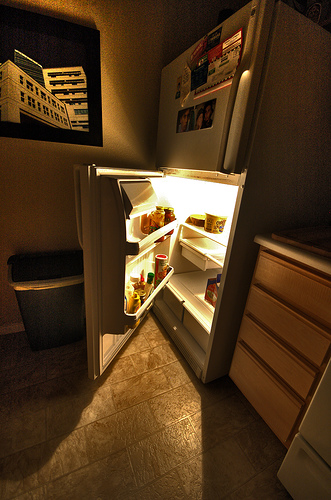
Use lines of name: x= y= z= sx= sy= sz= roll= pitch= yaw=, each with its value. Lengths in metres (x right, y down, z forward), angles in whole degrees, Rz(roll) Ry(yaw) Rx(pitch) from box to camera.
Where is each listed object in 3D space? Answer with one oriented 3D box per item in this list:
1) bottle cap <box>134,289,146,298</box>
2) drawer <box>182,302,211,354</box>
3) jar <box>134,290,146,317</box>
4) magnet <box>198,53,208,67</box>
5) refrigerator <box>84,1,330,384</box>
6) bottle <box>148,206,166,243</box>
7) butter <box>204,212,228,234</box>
bottle cap: x=-0.122 y=0.201 z=1.525 sx=0.047 sy=0.055 sz=0.030 roll=-7 pitch=23 yaw=-20
drawer: x=0.178 y=0.438 z=1.786 sx=0.105 sy=0.165 sz=0.221 roll=-6 pitch=32 yaw=-23
jar: x=-0.122 y=0.250 z=1.547 sx=0.051 sy=0.110 sz=0.059 roll=5 pitch=20 yaw=10
magnet: x=0.158 y=-0.813 z=1.356 sx=0.009 sy=0.032 sz=0.045 roll=-19 pitch=21 yaw=-21
refrigerator: x=0.202 y=-0.160 z=1.644 sx=1.076 sy=1.678 sz=0.829 roll=5 pitch=18 yaw=-5
bottle: x=-0.038 y=-0.130 z=1.680 sx=0.083 sy=0.215 sz=0.085 roll=7 pitch=20 yaw=-3
butter: x=0.268 y=-0.149 z=1.783 sx=0.102 sy=0.092 sz=0.114 roll=1 pitch=24 yaw=-4
